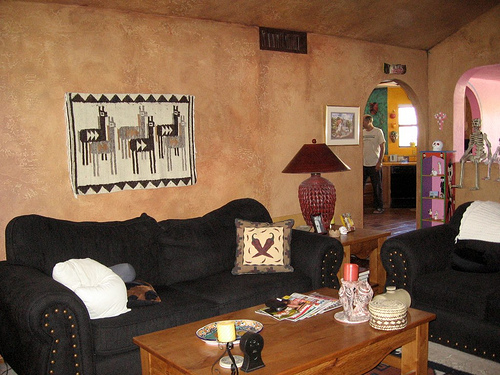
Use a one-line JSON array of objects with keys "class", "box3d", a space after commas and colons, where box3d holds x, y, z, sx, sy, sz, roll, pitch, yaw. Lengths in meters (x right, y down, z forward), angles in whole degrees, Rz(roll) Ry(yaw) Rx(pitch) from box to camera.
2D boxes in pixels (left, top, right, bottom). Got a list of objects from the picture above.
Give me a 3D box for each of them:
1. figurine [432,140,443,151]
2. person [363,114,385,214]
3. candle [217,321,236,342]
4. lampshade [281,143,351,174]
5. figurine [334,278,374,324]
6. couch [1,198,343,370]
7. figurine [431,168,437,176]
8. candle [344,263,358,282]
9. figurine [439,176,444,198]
[{"class": "figurine", "box3d": [2.919, -0.660, 6.472, 0.171, 0.169, 0.265, 0, 6, 27]}, {"class": "person", "box3d": [2.588, -0.463, 8.702, 0.389, 2.076, 0.600, 0, 6, 17]}, {"class": "candle", "box3d": [-0.126, 0.785, 2.255, 0.090, 0.093, 0.094, 0, 2, 6]}, {"class": "lampshade", "box3d": [0.705, -0.318, 4.497, 0.699, 0.314, 0.300, -2, 5, 6]}, {"class": "figurine", "box3d": [0.686, 0.747, 2.804, 0.244, 0.264, 0.262, -1, 2, 7]}, {"class": "couch", "box3d": [-0.678, 0.706, 3.501, 2.440, 1.029, 1.144, -6, 6, -38]}, {"class": "figurine", "box3d": [2.868, -0.246, 6.479, 0.133, 0.144, 0.105, 1, 3, 40]}, {"class": "candle", "box3d": [0.668, 0.567, 2.821, 0.102, 0.123, 0.104, -2, 4, -22]}, {"class": "figurine", "box3d": [2.929, -0.011, 6.365, 0.054, 0.330, 0.173, -1, 6, 15]}]
